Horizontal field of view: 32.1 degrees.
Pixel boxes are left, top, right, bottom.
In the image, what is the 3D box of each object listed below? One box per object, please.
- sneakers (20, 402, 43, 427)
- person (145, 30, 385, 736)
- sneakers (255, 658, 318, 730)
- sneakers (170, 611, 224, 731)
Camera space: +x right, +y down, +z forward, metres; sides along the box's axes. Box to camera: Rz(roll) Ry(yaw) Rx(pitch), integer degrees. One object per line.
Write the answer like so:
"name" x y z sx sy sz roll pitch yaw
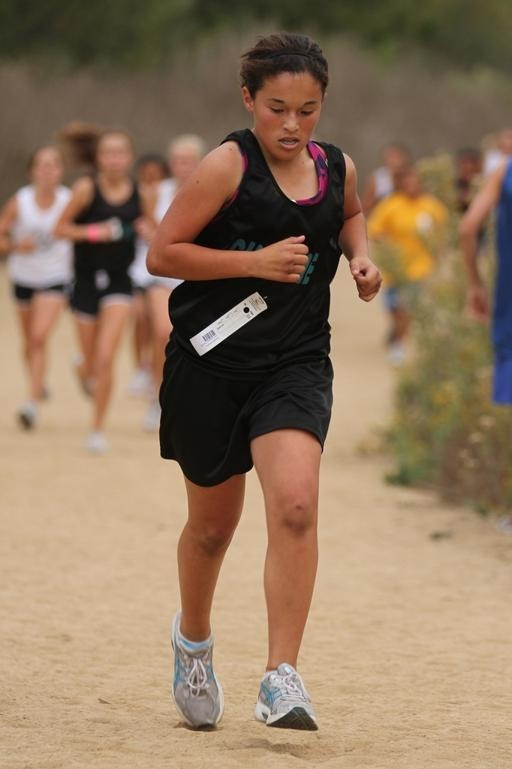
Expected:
"sneakers" -1.402 0.190 5.462 0.118 0.135 0.052 6 19 -13
"person" -0.021 0.071 1.800 0.391 1.495 0.465 3 8 4
"sneakers" 0.055 0.592 1.669 0.078 0.079 0.183 7 -9 -16
"sneakers" -0.142 0.651 2.113 0.130 0.113 0.324 -2 52 -10
